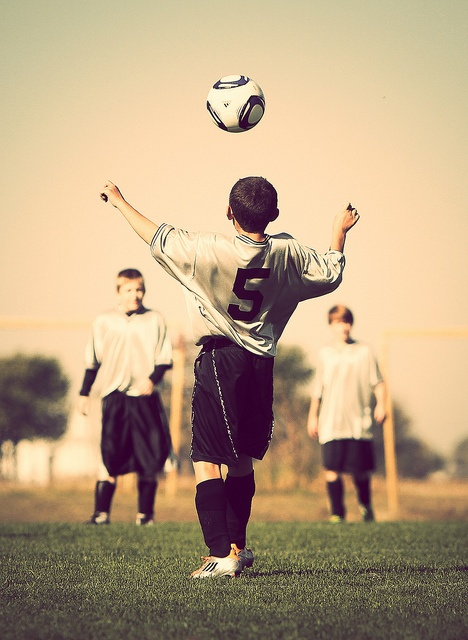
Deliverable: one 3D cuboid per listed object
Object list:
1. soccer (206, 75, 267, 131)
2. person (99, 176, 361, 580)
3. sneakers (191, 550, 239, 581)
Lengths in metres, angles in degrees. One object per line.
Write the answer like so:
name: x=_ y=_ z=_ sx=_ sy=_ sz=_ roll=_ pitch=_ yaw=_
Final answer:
soccer: x=-0.001 y=-1.126 z=5.708 sx=0.250 sy=0.303 sz=0.282 roll=1 pitch=-24 yaw=3
person: x=-0.007 y=0.271 z=5.271 sx=1.098 sy=1.911 sz=0.408 roll=2 pitch=-2 yaw=0
sneakers: x=-0.077 y=1.176 z=5.178 sx=0.241 sy=0.152 sz=0.097 roll=-8 pitch=-12 yaw=-3
